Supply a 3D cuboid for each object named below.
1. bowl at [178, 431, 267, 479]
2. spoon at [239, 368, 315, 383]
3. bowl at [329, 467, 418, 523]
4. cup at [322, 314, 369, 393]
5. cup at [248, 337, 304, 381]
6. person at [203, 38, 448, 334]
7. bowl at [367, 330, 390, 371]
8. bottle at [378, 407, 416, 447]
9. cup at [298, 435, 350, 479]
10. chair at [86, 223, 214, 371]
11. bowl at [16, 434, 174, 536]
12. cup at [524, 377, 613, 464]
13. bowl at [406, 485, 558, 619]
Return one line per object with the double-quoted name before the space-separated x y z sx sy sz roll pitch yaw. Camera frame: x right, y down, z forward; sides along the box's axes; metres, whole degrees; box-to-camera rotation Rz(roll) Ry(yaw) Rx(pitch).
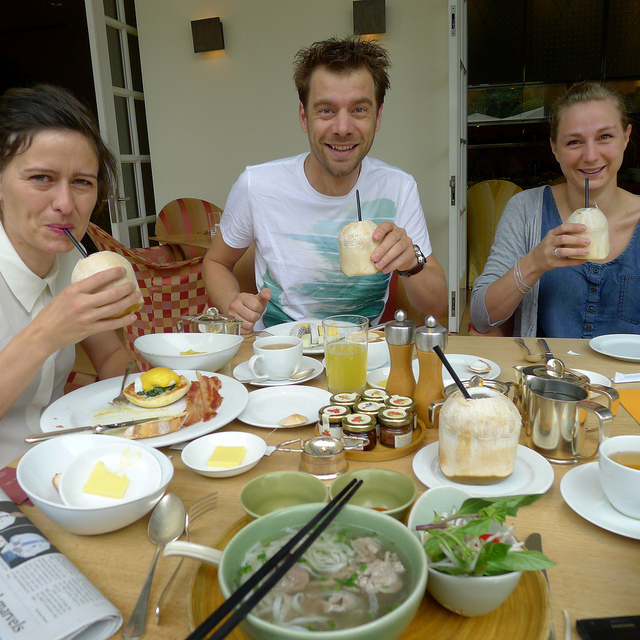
"bowl" -0.171 0.243 0.923 0.140 0.034 0.144 -1 16 0
"spoon" -0.109 0.143 1.310 0.125 0.018 0.025 -7 -5 -16
"bowl" 0.104 0.273 0.792 0.129 0.042 0.129 -4 -26 -2
"cup" 0.060 0.086 1.217 0.114 0.171 0.112 -1 11 0
"cup" -0.105 0.089 1.331 0.104 0.087 0.128 11 23 35
"person" -0.043 -0.513 2.129 1.077 1.129 0.561 2 16 21
"bowl" 0.154 0.090 1.356 0.073 0.053 0.073 -1 10 0
"bottle" 0.139 0.198 0.942 0.065 0.062 0.066 -3 6 -11
"cup" -0.001 0.235 0.877 0.088 0.048 0.083 4 -1 0
"chair" -1.070 -0.144 2.922 0.678 0.738 0.937 7 22 -35
"bowl" -0.347 0.248 0.793 0.183 0.065 0.162 0 21 -39
"cup" 0.449 0.194 0.928 0.101 0.126 0.187 -10 15 -14
"bowl" 0.203 0.261 0.587 0.211 0.096 0.145 -3 18 11
